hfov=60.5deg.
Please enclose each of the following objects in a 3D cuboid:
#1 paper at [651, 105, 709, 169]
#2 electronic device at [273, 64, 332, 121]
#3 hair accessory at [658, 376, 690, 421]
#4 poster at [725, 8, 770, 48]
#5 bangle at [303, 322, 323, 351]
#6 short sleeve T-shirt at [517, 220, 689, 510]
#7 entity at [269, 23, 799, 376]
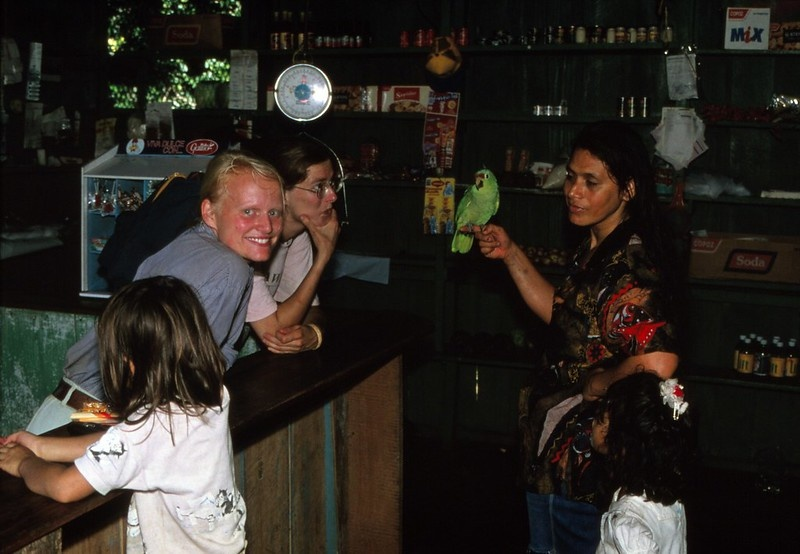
[{"bbox_3d":[2.095,-1.032,5.112,0.422,0.446,0.132,12,4,12],"label":"paper"},{"bbox_3d":[-0.701,-1.334,5.071,0.387,0.408,0.400,1,9,2],"label":"electronic device"},{"bbox_3d":[1.132,0.488,2.835,0.114,0.082,0.167,44,35,3],"label":"hair accessory"},{"bbox_3d":[2.595,-1.830,5.088,0.279,0.293,0.029,4,4,7],"label":"poster"},{"bbox_3d":[-0.443,0.303,3.534,0.038,0.113,0.099,-8,5,-4],"label":"bangle"},{"bbox_3d":[0.922,0.423,3.255,0.636,1.284,0.880,6,0,-10],"label":"short sleeve T-shirt"},{"bbox_3d":[1.078,-0.609,4.811,2.866,1.930,0.925,0,-1,27],"label":"entity"}]
